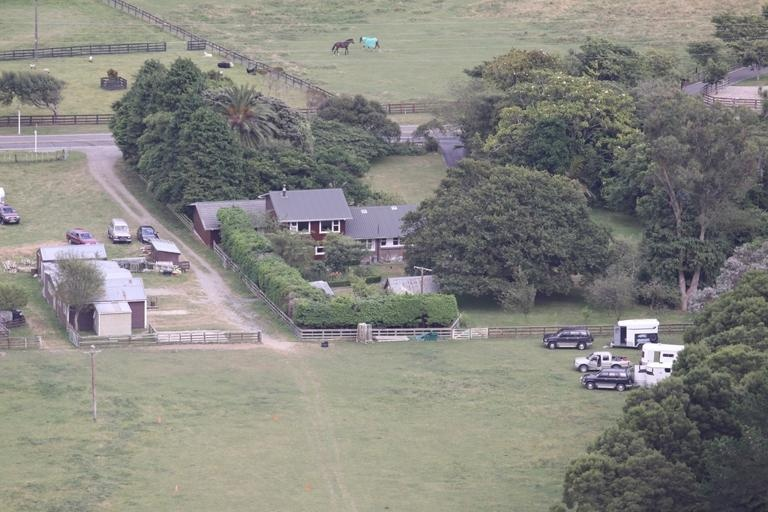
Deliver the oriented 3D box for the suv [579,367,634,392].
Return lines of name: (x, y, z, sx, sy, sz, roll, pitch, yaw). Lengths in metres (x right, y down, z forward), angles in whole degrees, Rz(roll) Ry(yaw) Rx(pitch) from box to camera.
suv: (30.164, 16.509, 324.483, 5.734, 2.289, 3.052, 3, 4, 3)

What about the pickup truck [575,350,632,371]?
pickup truck: (29.650, 14.286, 327.524, 5.340, 1.795, 3.288, 1, 3, 4)

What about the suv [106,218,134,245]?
suv: (-38.825, -3.767, 354.016, 3.355, 3.316, 3.752, -4, 11, -7)

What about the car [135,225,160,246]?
car: (-34.728, -3.317, 353.747, 2.160, 1.668, 3.487, -3, 3, -21)

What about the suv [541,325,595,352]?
suv: (25.632, 11.282, 334.457, 5.656, 2.380, 3.111, 2, 5, 1)

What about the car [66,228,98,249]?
car: (-44.119, -2.902, 350.683, 2.729, 1.769, 5.232, -11, 14, -39)
